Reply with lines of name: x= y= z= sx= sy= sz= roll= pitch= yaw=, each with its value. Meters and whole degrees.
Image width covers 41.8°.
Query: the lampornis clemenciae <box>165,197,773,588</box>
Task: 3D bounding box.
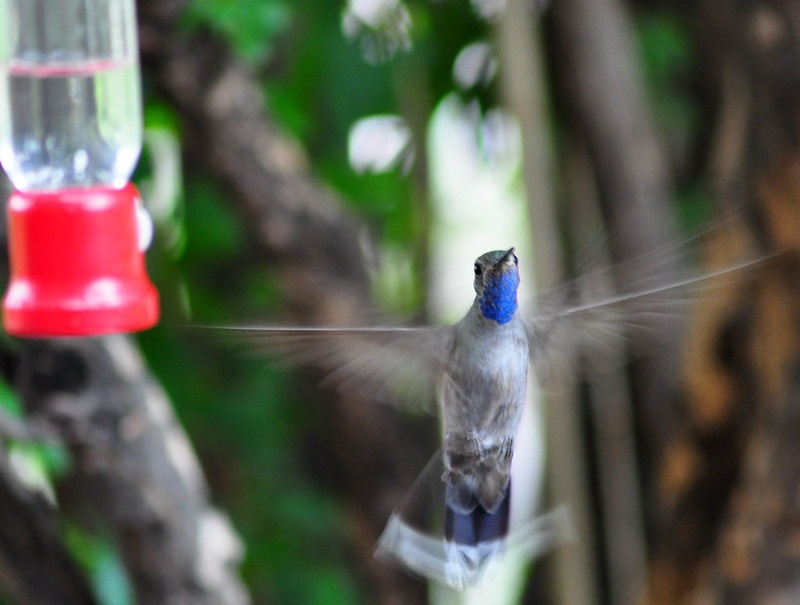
lampornis clemenciae: x=0.069 y=0.116 z=1.157 sx=0.403 sy=0.258 sz=0.225 roll=-19 pitch=73 yaw=-44
